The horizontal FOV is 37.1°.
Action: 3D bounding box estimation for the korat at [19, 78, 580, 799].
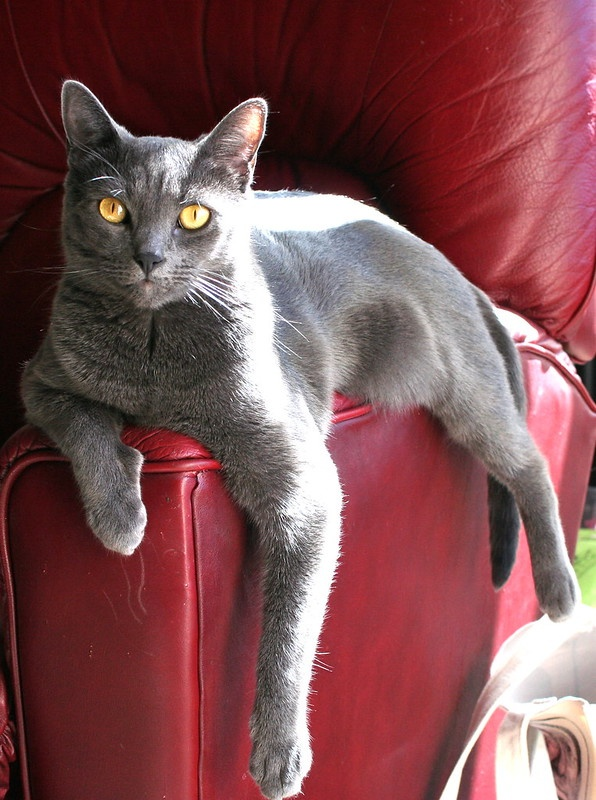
[{"bbox_3d":[0.022,-0.025,1.015,0.660,0.549,0.712,32,35,28],"label":"korat"}]
